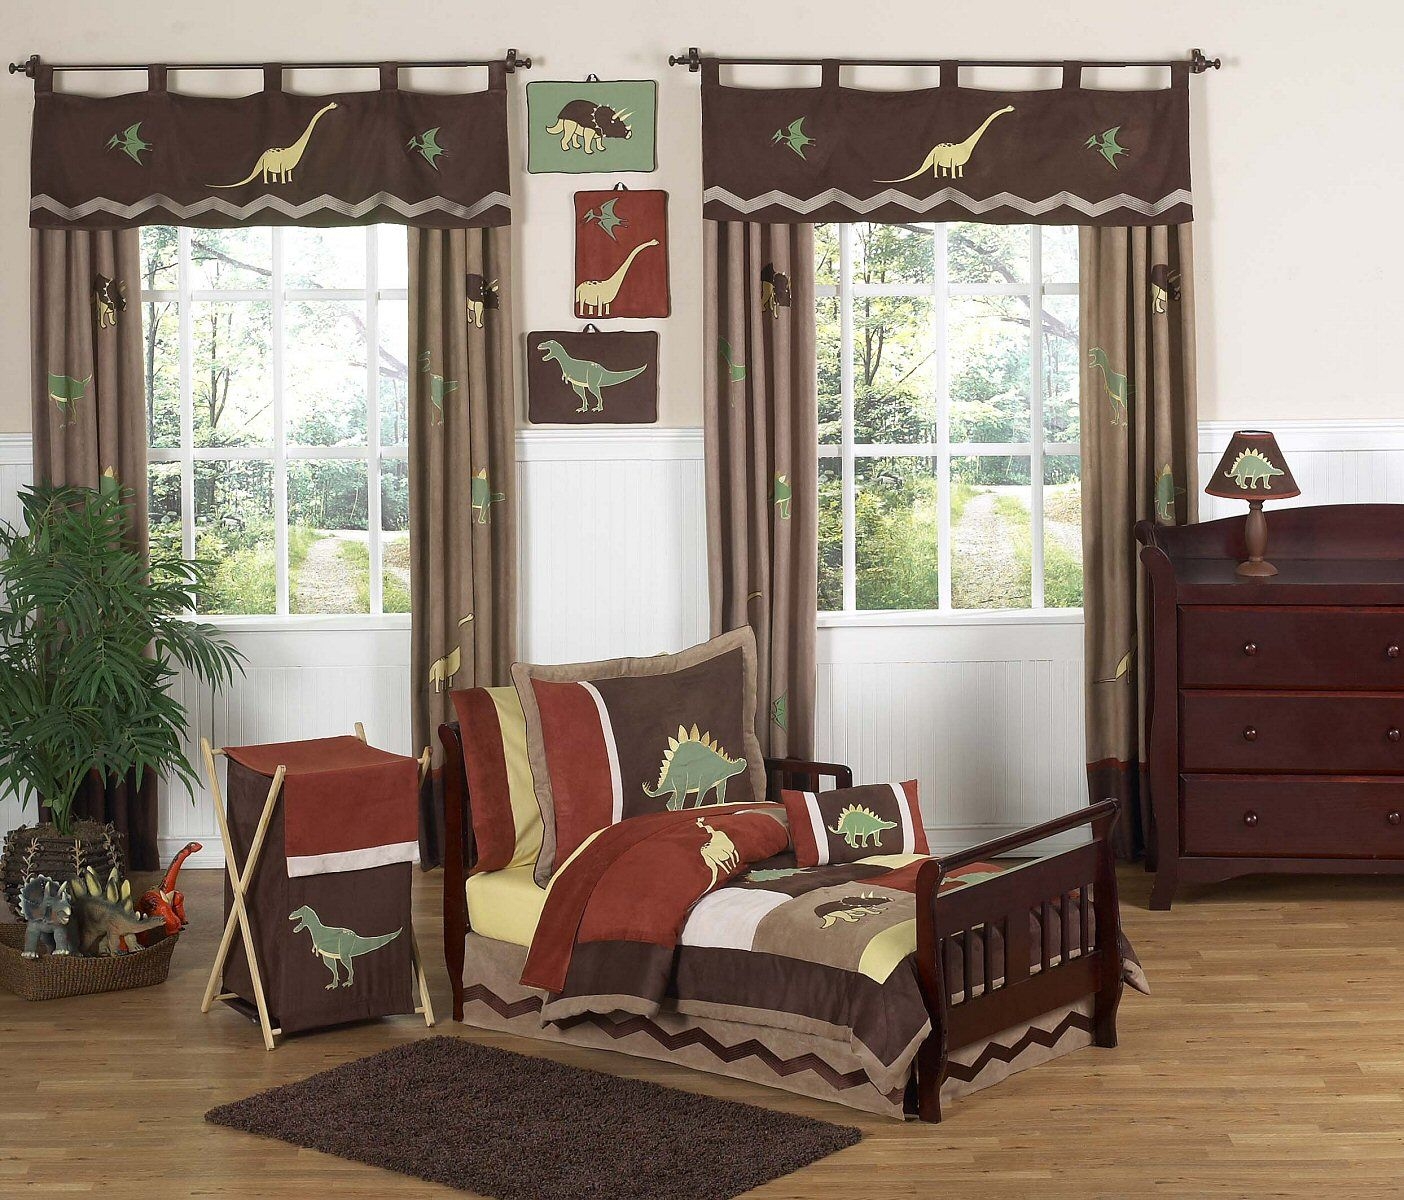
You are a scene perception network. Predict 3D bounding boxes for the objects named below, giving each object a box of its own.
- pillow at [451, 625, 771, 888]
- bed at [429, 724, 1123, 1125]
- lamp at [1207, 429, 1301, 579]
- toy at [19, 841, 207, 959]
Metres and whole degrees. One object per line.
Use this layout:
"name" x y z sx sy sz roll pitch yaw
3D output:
"pillow" -0.271 0.430 4.046 0.697 0.639 0.269 -7 -12 -34
"bed" 0.306 0.837 3.607 1.132 0.664 0.859 2 8 31
"lamp" 1.934 -0.344 5.005 0.296 0.515 0.302 -2 15 11
"toy" -1.702 0.841 4.081 0.473 0.308 0.323 -2 5 -23
